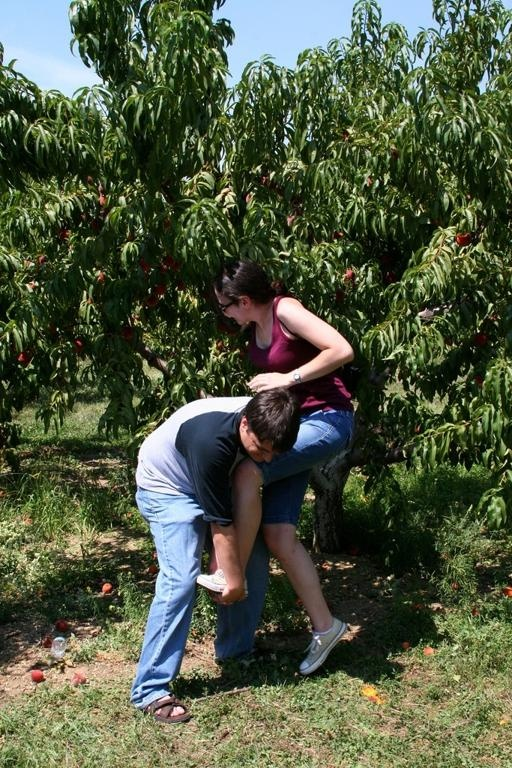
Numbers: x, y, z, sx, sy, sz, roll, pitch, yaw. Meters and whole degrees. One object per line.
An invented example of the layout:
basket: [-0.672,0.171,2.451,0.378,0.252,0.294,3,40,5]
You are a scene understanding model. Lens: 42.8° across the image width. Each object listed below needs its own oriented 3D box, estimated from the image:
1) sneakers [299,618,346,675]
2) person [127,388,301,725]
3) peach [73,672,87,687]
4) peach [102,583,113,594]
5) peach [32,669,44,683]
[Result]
sneakers: [0.237,1.038,2.600,0.246,0.106,0.079,-34,16,-34]
person: [-0.157,0.559,2.355,0.545,1.188,0.590,-4,16,-41]
peach: [-0.679,1.136,2.512,0.050,0.040,0.062,0,5,-14]
peach: [-0.788,1.083,3.459,0.045,0.055,0.046,8,21,14]
peach: [-0.855,1.142,2.552,0.027,0.028,0.033,30,-18,10]
